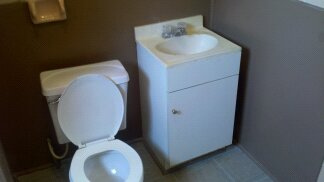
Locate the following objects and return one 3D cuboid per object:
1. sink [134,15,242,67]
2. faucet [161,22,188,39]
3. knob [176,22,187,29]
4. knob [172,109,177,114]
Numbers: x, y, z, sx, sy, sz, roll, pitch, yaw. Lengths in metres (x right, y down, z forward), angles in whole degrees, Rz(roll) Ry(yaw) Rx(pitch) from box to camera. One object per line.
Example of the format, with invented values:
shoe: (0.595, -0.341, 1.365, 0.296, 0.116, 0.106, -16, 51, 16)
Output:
sink: (0.230, -0.468, 2.312, 0.864, 0.296, 0.576, -14, 38, -14)
faucet: (0.132, -0.633, 2.417, 0.317, 0.117, 0.136, -13, 38, -13)
knob: (0.198, -0.682, 2.436, 0.071, 0.033, 0.092, 4, 35, 4)
knob: (0.117, 0.194, 2.216, 0.026, 0.042, 0.045, -2, 28, -2)
